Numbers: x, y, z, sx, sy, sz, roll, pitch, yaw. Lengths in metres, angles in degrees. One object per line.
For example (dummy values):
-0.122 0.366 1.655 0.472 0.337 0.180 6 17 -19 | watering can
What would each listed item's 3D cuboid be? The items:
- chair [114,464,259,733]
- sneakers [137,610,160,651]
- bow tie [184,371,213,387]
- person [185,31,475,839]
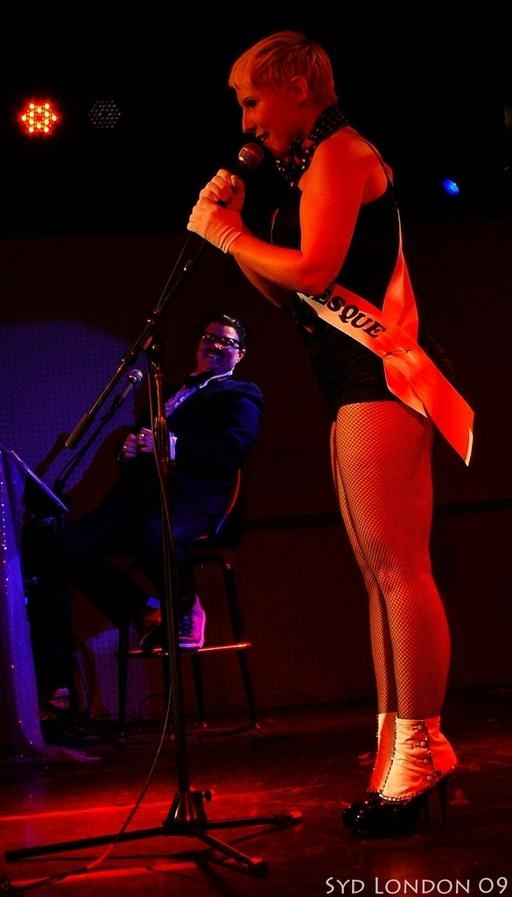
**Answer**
-0.254 0.462 3.384 0.605 0.957 0.570 7 14 6 | chair
-0.348 0.640 3.106 0.052 0.119 0.093 30 -32 -28 | sneakers
-0.238 -0.282 3.622 0.107 0.024 0.057 -15 4 -13 | bow tie
0.182 -0.066 1.717 0.402 1.452 0.666 -11 19 -30 | person
